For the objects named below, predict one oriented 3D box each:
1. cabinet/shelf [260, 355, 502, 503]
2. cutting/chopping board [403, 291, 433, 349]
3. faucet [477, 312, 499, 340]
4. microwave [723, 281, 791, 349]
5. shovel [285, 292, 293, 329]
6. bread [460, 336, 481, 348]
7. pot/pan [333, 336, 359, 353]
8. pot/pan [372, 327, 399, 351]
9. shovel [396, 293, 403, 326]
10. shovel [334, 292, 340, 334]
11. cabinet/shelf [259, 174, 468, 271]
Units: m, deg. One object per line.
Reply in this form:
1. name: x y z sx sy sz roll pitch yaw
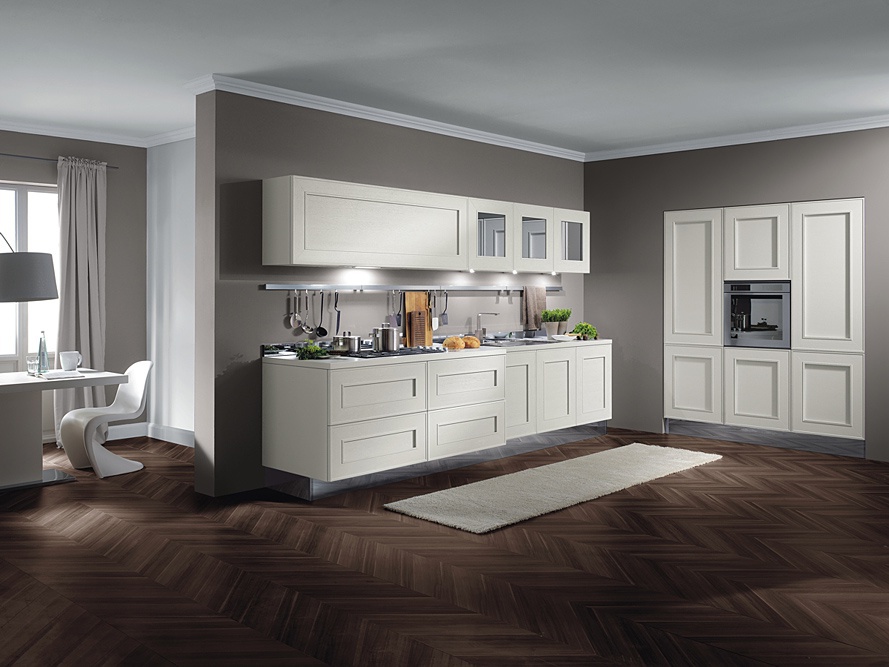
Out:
1. cabinet/shelf: -0.416 0.626 5.179 1.880 0.935 0.655 -3 5 -30
2. cutting/chopping board: -0.249 -0.137 5.800 0.250 0.492 0.401 -1 4 -4
3. faucet: 0.453 -0.093 6.636 0.276 0.291 0.200 -2 -3 37
4. microwave: 3.332 -0.213 6.619 0.653 0.646 0.429 1 2 32
5. shovel: -1.287 -0.181 5.186 0.083 0.294 0.030 -3 5 -29
6. bread: 0.231 0.073 5.730 0.116 0.063 0.111 0 2 -14
7. pot/pan: -0.800 0.089 5.132 0.191 0.118 0.129 0 2 1
8. pot/pan: -0.499 0.046 5.358 0.231 0.184 0.169 0 -1 -7
9. shovel: -0.418 -0.227 5.880 0.068 0.306 0.094 -1 4 -5
10. shovel: -0.930 -0.177 5.486 0.058 0.341 0.029 -3 5 -36
11. cabinet/shelf: -0.619 -0.906 5.457 0.441 0.626 1.900 7 9 44
